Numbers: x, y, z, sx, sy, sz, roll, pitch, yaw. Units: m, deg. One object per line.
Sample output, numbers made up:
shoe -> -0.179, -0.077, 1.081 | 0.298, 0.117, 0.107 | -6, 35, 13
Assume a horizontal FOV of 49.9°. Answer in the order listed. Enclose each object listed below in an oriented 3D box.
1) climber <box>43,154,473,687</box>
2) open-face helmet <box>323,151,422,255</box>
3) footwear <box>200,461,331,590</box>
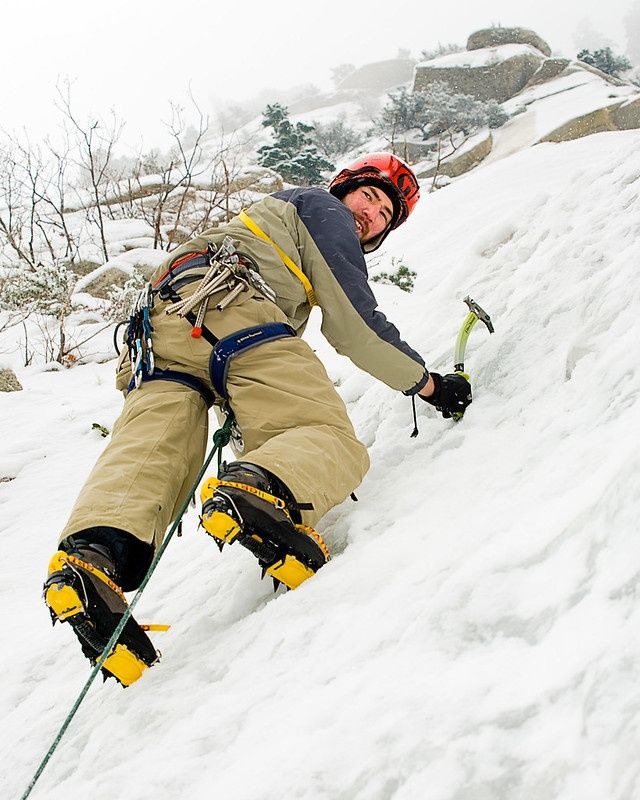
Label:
climber -> -0.076, -0.112, 2.772 | 1.419, 2.007, 1.377 | 4, -26, -4
open-face helmet -> 0.351, -0.972, 3.543 | 0.557, 0.535, 0.418 | -16, 22, -38
footwear -> -0.150, 0.376, 2.063 | 0.206, 0.524, 0.319 | -50, 30, -8
